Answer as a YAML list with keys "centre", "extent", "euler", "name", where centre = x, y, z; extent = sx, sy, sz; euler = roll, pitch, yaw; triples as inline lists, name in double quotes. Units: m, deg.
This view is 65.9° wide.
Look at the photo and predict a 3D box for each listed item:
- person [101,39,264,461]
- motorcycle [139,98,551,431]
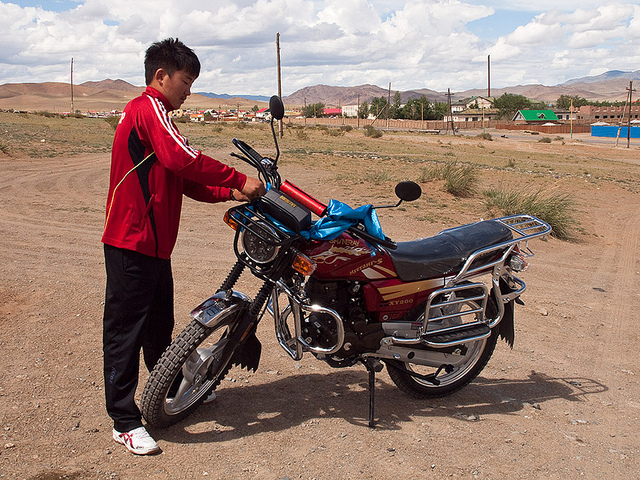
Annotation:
- centre: [-1.208, 0.026, 3.811]
  extent: [1.011, 3.065, 0.852]
  euler: [-7, 15, -29]
  name: "person"
- centre: [0.322, 0.478, 4.255]
  extent: [3.658, 1.842, 1.504]
  euler: [-1, 9, -22]
  name: "motorcycle"
